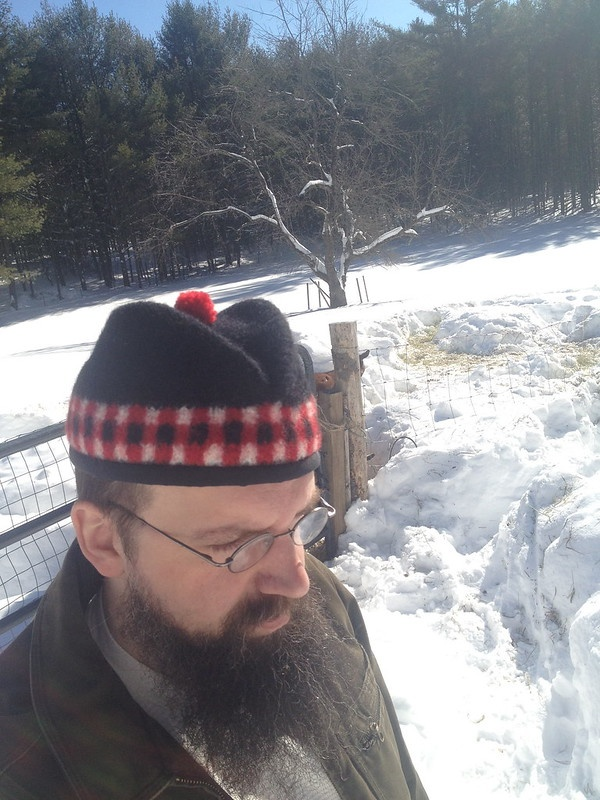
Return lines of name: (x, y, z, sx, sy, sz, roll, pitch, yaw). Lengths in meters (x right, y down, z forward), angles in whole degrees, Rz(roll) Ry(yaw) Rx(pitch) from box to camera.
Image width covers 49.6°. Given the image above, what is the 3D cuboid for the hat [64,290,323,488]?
hat: (-0.192, 0.007, 1.224, 0.367, 0.297, 0.340, 5, 6, 44)
